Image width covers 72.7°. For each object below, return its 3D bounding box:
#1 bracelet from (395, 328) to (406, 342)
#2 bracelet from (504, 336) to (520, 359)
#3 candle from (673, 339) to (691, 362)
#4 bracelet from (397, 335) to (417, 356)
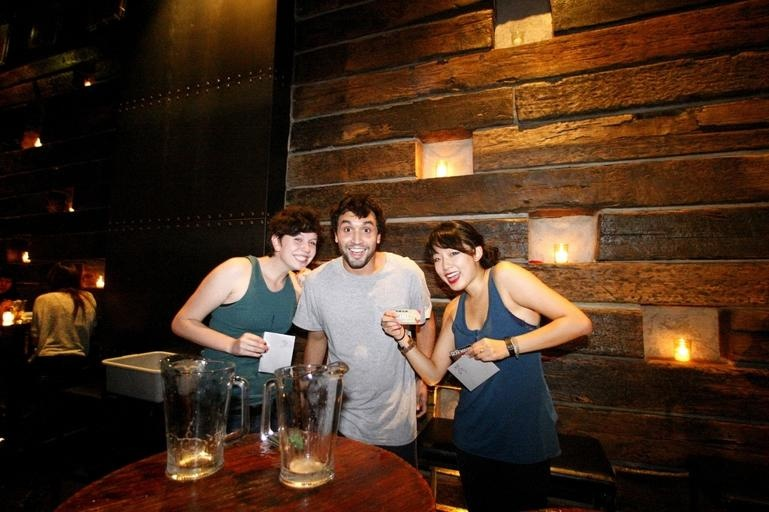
[{"bbox_3d":[0.097,0.514,3.413,0.070,0.082,0.053,-15,47,-15],"label":"bracelet"},{"bbox_3d":[0.797,0.566,3.303,0.083,0.126,0.118,-26,40,4],"label":"bracelet"},{"bbox_3d":[2.057,0.636,3.580,0.118,0.138,0.077,0,0,13],"label":"candle"},{"bbox_3d":[0.145,0.590,3.461,0.128,0.085,0.137,-12,22,42],"label":"bracelet"}]
